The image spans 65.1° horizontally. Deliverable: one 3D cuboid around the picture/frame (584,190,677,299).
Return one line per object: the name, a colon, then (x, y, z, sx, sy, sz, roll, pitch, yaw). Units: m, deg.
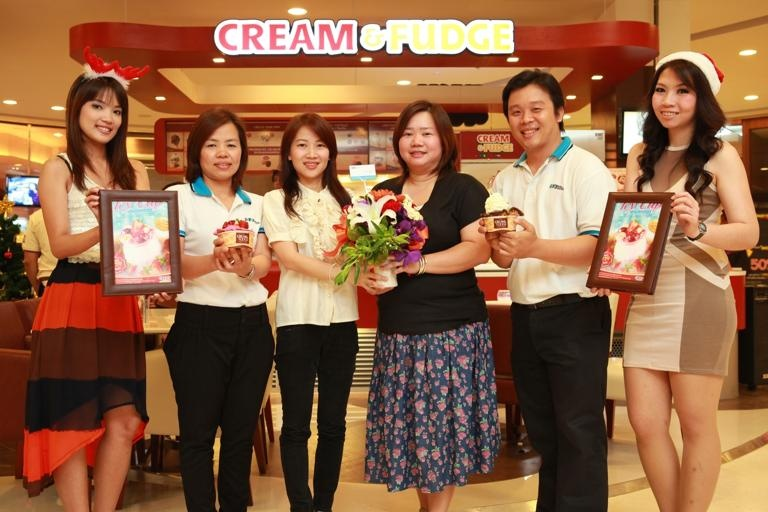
picture/frame: (1.246, -0.069, 3.078, 0.392, 0.507, 0.148, 1, 3, 25)

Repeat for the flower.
flower: (-0.088, -0.074, 3.399, 0.608, 0.547, 0.644, 6, -6, -23)

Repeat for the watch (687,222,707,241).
watch: (1.606, -0.126, 3.111, 0.063, 0.041, 0.057, -37, -19, -31)

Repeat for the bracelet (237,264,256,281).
bracelet: (-0.773, 0.095, 3.395, 0.091, 0.063, 0.096, -2, -8, 5)
